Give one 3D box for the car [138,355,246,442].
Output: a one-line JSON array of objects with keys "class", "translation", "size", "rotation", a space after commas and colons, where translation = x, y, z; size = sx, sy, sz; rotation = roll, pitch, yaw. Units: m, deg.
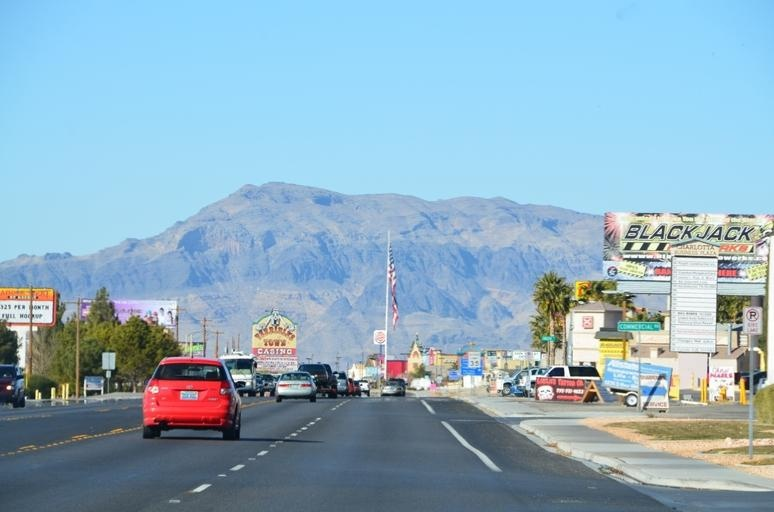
[{"class": "car", "translation": [-8.132, 5.937, 57.122], "size": [3.730, 3.472, 1.760], "rotation": [0, -5, -13]}]
